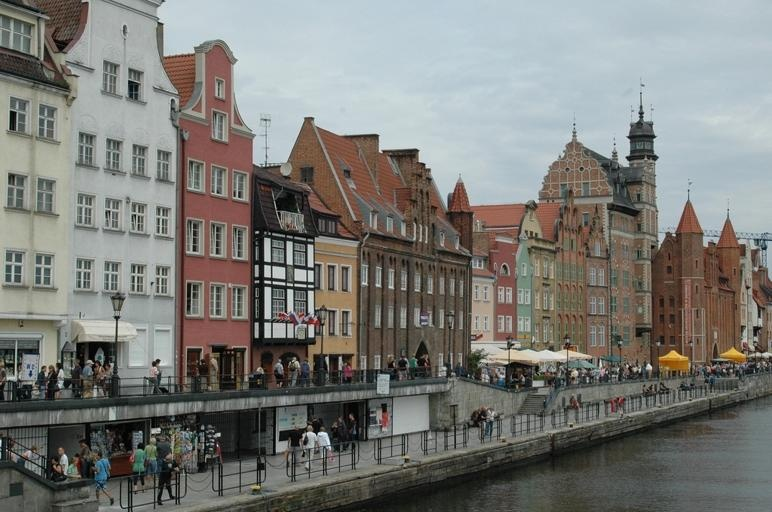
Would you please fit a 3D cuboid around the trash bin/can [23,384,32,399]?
[{"bbox_3d":[-20.273,7.619,78.713,0.580,0.997,0.605,-3,-13,-9],"label":"trash bin/can"}]

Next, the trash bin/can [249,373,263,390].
[{"bbox_3d":[-8.363,8.056,89.674,0.932,1.272,0.924,6,-16,-31],"label":"trash bin/can"}]

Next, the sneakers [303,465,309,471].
[{"bbox_3d":[-4.708,12.532,82.865,0.265,0.308,0.284,-5,-6,34],"label":"sneakers"}]

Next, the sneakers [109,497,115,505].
[{"bbox_3d":[-14.790,13.158,75.166,0.220,0.531,0.186,2,-4,-3],"label":"sneakers"}]

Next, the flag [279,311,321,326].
[{"bbox_3d":[-6.237,4.375,99.111,2.833,0.614,1.022,8,6,9],"label":"flag"}]

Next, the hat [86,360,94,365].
[{"bbox_3d":[-17.728,6.292,83.475,0.420,0.174,0.422,-2,-9,10],"label":"hat"}]
